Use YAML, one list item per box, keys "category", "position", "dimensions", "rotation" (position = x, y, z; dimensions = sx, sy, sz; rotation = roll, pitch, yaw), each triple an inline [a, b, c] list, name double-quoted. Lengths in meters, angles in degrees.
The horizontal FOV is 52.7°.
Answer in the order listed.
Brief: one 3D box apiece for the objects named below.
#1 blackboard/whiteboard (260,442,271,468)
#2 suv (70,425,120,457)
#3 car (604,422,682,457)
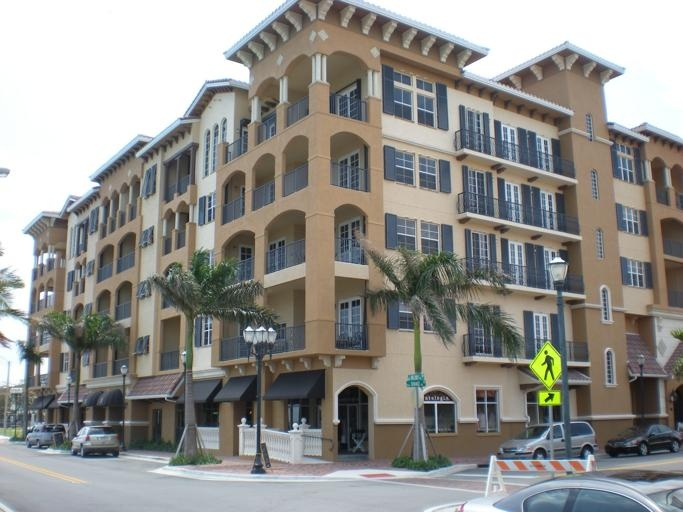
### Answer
- category: "blackboard/whiteboard"
  position: [-3.194, 8.507, 29.376]
  dimensions: [0.418, 1.101, 1.093]
  rotation: [1, -18, -6]
- category: "suv"
  position: [-14.522, 10.983, 40.900]
  dimensions: [3.037, 1.875, 1.615]
  rotation: [-15, -23, 36]
- category: "car"
  position: [15.819, 9.693, 36.080]
  dimensions: [3.981, 1.664, 1.185]
  rotation: [8, -20, -24]
